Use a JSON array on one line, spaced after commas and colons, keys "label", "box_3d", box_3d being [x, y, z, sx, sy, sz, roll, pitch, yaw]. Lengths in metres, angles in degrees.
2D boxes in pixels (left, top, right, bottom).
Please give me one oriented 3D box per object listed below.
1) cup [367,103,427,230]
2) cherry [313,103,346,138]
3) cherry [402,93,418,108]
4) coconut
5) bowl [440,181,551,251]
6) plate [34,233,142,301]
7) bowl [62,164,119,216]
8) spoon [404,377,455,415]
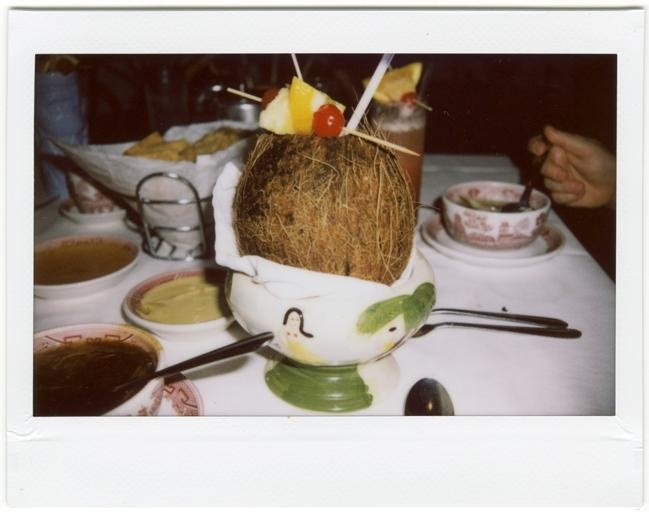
[{"label": "cup", "box_3d": [0.155, -0.185, 1.303, 0.092, 0.283, 0.091, 1, 32, 0]}, {"label": "cherry", "box_3d": [0.007, -0.203, 0.917, 0.048, 0.045, 0.044, -1, 21, -2]}, {"label": "cherry", "box_3d": [0.175, -0.313, 1.247, 0.028, 0.033, 0.027, -5, 4, -18]}, {"label": "coconut", "box_3d": [-0.004, -0.070, 0.934, 0.278, 0.219, 0.119, 2, 22, 6]}, {"label": "bowl", "box_3d": [0.360, -0.121, 1.262, 0.171, 0.085, 0.166, -1, 22, 0]}, {"label": "plate", "box_3d": [-0.500, 0.002, 1.234, 0.158, 0.125, 0.201, 11, 17, 26]}, {"label": "bowl", "box_3d": [-0.526, -0.153, 1.417, 0.113, 0.103, 0.088, 7, 14, -6]}, {"label": "spoon", "box_3d": [0.177, 0.240, 1.046, 0.085, 0.046, 0.045, -2, 21, -3]}]
